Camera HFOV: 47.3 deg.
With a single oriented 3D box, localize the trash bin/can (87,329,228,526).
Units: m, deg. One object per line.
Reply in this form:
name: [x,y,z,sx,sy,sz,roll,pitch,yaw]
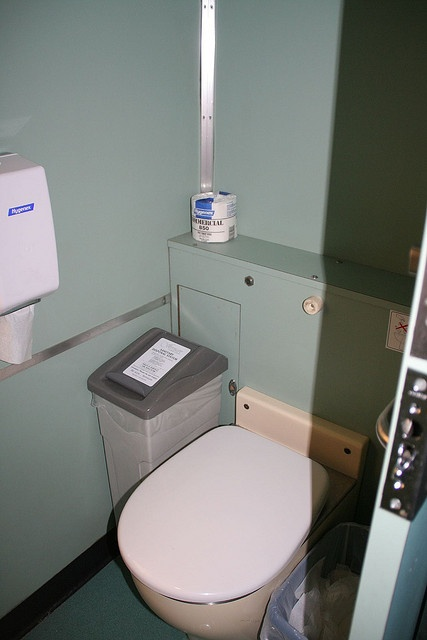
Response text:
trash bin/can: [-0.177,0.340,1.365,0.229,0.466,0.277,20,29,35]
